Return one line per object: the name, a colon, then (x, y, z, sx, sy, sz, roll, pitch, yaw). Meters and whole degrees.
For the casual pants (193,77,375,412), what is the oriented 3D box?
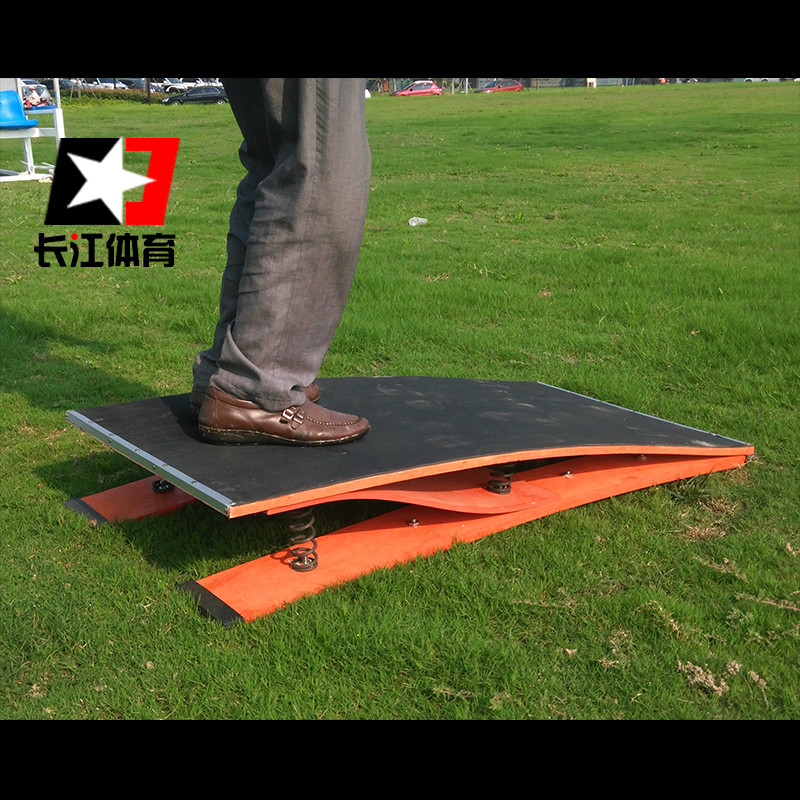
casual pants: (-0.318, -0.413, 2.224, 0.469, 0.960, 0.687, -10, 20, -28)

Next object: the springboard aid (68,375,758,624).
springboard aid: (0.092, 0.227, 2.906, 2.063, 0.430, 0.939, -10, 19, -34)

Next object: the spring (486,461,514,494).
spring: (0.379, 0.291, 2.879, 0.120, 0.097, 0.115, -2, 8, -25)

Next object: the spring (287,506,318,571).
spring: (-0.310, 0.412, 2.438, 0.097, 0.197, 0.211, -2, 17, -7)

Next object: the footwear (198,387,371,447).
footwear: (-0.390, 0.046, 2.376, 0.580, 0.166, 0.179, 0, 10, -18)
